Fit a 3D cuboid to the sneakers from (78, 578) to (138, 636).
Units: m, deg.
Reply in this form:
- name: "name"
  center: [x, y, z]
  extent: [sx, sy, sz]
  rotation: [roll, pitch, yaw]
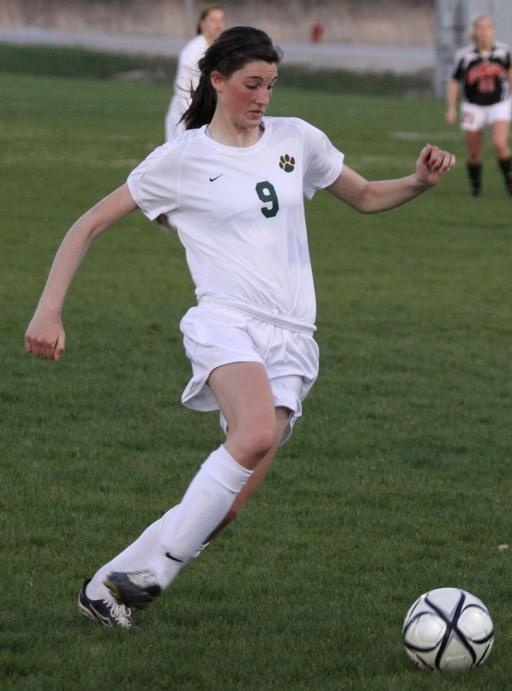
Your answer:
- name: "sneakers"
  center: [-0.453, 0.815, 3.671]
  extent: [0.248, 0.104, 0.086]
  rotation: [24, 46, 0]

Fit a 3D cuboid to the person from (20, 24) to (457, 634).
- name: "person"
  center: [-0.072, -0.093, 3.797]
  extent: [0.756, 1.769, 1.199]
  rotation: [10, 19, 37]

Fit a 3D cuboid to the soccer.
- name: "soccer"
  center: [0.577, 0.808, 3.577]
  extent: [0.227, 0.231, 0.240]
  rotation: [2, 12, 30]

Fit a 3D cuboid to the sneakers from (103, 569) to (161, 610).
- name: "sneakers"
  center: [-0.354, 0.700, 3.553]
  extent: [0.202, 0.091, 0.093]
  rotation: [4, 20, 39]
